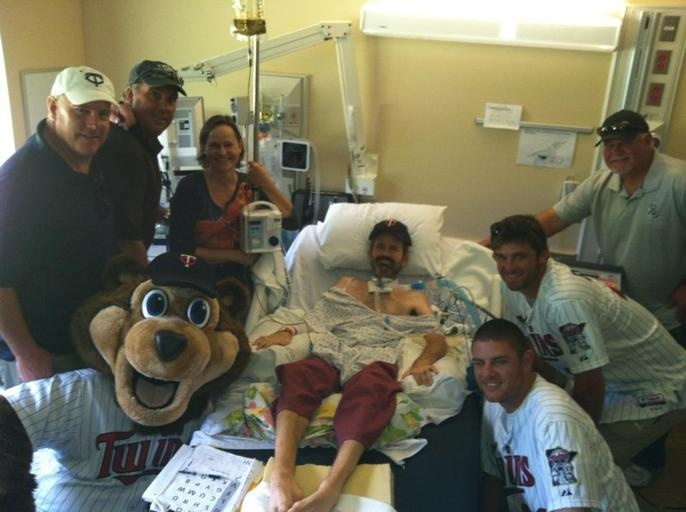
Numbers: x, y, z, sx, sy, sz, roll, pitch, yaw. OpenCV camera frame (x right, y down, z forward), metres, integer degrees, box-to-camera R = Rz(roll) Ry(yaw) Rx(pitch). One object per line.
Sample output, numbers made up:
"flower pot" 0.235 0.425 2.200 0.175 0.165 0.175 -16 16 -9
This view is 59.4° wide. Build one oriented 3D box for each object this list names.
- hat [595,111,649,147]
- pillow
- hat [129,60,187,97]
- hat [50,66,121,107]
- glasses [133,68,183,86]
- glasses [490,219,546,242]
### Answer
"hat" 1.395 -0.637 2.879 0.252 0.143 0.191 2 -13 31
"pillow" 0.203 -0.142 3.442 0.530 0.459 0.161 1 -16 4
"hat" -0.806 -0.815 2.654 0.227 0.112 0.165 12 -22 -26
"hat" -1.056 -0.711 2.496 0.282 0.139 0.207 21 20 39
"glasses" -0.850 -0.806 2.696 0.142 0.045 0.105 5 20 9
"glasses" 0.796 -0.118 2.721 0.234 0.121 0.136 3 15 11
